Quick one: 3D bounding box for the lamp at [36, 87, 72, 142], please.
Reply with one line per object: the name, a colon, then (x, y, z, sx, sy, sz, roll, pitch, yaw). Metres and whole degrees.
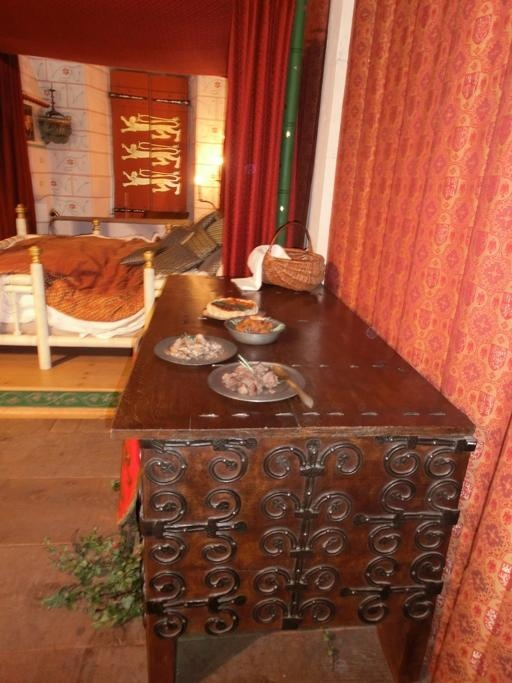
lamp: (-2.514, -2.787, 6.766, 0.380, 0.652, 0.394, -4, 25, -14)

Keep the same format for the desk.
desk: (0.075, 0.564, 1.846, 0.904, 0.872, 1.350, 2, 30, -5)

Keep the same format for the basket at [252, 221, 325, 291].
basket: (0.139, -0.406, 2.592, 0.380, 0.339, 0.250, 13, 19, 23)
